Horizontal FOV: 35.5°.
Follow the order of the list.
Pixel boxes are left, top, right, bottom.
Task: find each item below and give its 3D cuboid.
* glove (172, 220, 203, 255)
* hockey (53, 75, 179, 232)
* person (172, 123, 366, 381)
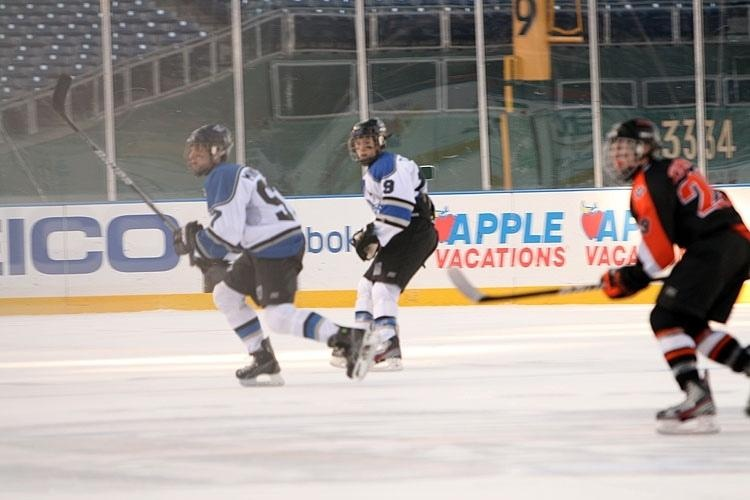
[{"bbox_3d":[-1.431,-0.091,8.948,0.306,0.241,0.210,2,11,-5],"label":"glove"},{"bbox_3d":[-2.805,-0.979,12.652,0.523,2.488,0.140,-46,-7,8],"label":"hockey"},{"bbox_3d":[-0.810,0.188,8.803,1.472,1.686,0.316,-1,6,13],"label":"person"}]
